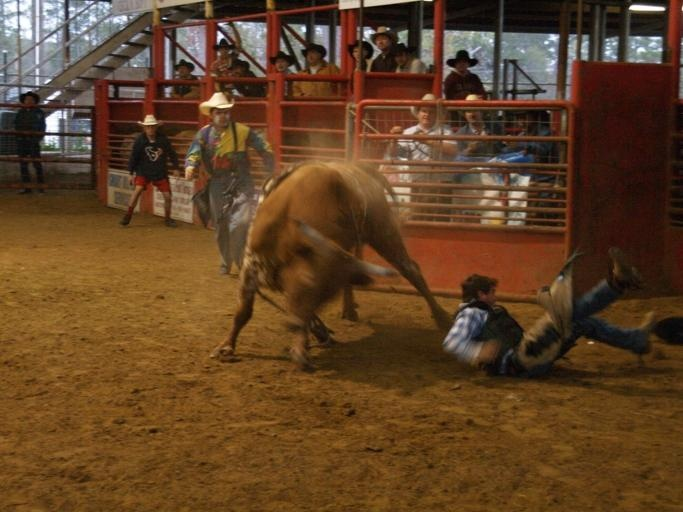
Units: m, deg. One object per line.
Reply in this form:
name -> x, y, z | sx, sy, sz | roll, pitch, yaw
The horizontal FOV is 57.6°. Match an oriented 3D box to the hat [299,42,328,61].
hat -> -0.422, -3.634, 11.073 | 0.523, 0.137, 0.447 | -3, -16, 4

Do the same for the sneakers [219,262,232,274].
sneakers -> -1.463, 0.162, 7.967 | 0.144, 0.150, 0.170 | -2, -30, 2

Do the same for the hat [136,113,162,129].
hat -> -3.429, -2.459, 11.206 | 0.606, 0.166, 0.566 | -2, -6, -9

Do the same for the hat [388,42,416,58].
hat -> 1.039, -3.332, 10.063 | 0.476, 0.136, 0.480 | -1, -4, 21

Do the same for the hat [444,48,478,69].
hat -> 2.121, -3.430, 10.833 | 0.674, 0.186, 0.615 | 0, -10, 2

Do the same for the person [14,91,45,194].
person -> -7.418, -2.718, 14.941 | 0.776, 2.449, 1.538 | -8, 18, -23

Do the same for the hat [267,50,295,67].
hat -> -1.022, -3.550, 11.169 | 0.424, 0.105, 0.365 | -3, -12, 2

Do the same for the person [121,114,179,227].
person -> -3.460, -1.537, 11.195 | 1.052, 1.973, 0.689 | -8, 19, -24

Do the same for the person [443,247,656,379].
person -> 1.491, 0.431, 4.452 | 1.371, 0.522, 0.577 | -14, -5, 20
